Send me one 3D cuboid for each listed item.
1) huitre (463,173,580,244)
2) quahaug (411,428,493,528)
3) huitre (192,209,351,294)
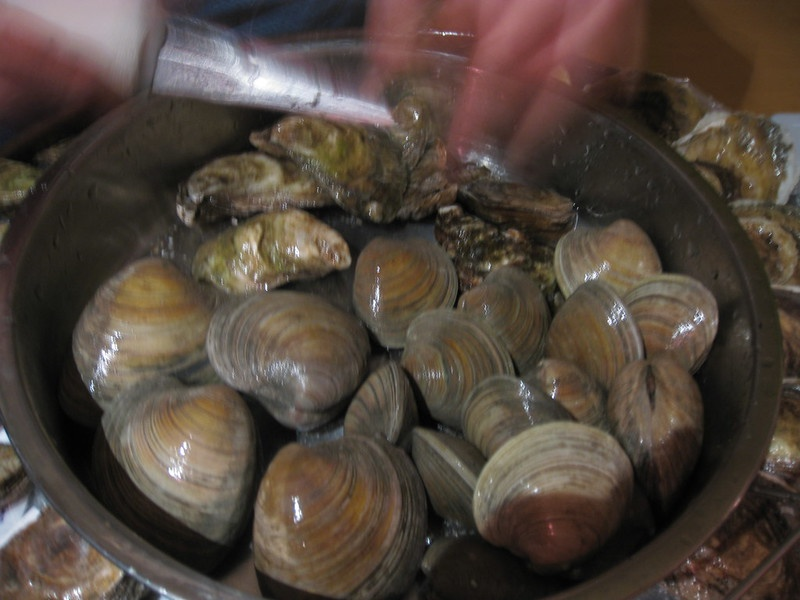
[{"bbox_3d":[0.158,-0.125,1.048,0.126,0.088,0.057,29,57,-6],"label":"huitre"},{"bbox_3d":[0.056,0.188,0.869,0.031,0.081,0.095,-23,73,-46],"label":"quahaug"},{"bbox_3d":[-0.171,-0.065,0.958,0.163,0.062,0.122,-11,75,-3],"label":"huitre"}]
